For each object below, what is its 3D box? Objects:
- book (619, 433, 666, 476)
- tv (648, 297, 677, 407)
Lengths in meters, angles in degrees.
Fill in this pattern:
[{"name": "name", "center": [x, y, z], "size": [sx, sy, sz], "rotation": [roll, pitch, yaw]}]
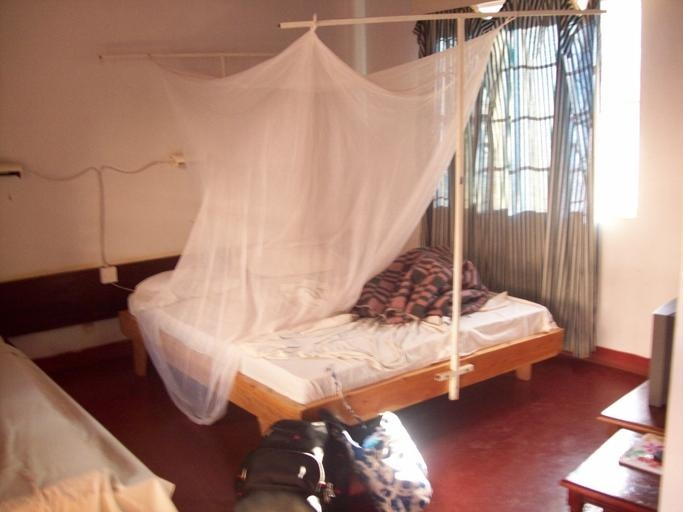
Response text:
[{"name": "book", "center": [1.301, 0.829, 2.405], "size": [0.199, 0.010, 0.219], "rotation": [-8, 15, 38]}, {"name": "tv", "center": [1.392, 0.425, 2.471], "size": [0.103, 0.449, 0.230], "rotation": [11, 23, 32]}]
